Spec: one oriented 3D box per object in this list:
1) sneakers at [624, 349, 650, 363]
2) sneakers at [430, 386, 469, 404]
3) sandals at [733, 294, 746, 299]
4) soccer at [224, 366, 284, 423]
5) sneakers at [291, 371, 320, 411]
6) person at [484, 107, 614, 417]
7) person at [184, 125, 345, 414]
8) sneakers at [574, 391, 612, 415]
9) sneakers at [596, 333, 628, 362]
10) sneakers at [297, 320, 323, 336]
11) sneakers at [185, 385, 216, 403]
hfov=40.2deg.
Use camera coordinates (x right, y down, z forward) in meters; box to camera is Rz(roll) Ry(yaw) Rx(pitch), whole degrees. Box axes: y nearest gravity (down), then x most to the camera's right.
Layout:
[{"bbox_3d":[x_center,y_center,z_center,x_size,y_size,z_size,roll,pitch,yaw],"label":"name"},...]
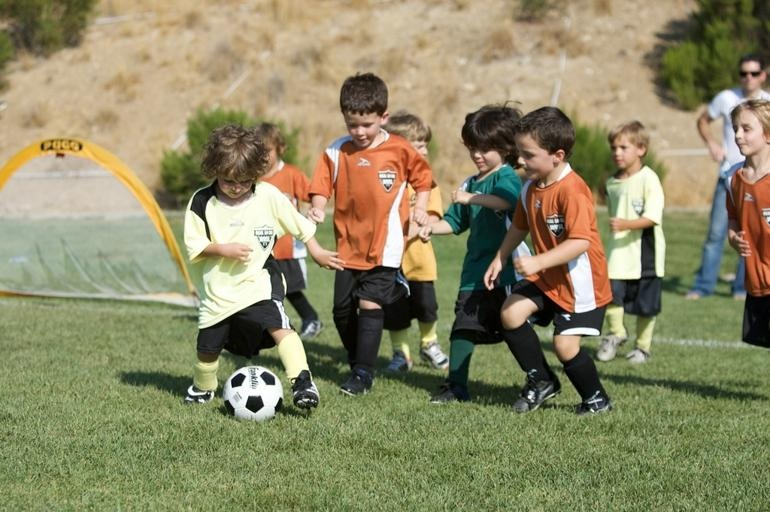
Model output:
[{"bbox_3d":[2.654,1.044,11.025,0.240,0.127,0.206,1,5,13],"label":"sneakers"},{"bbox_3d":[0.609,1.299,9.844,0.328,0.139,0.161,3,-7,-8],"label":"sneakers"},{"bbox_3d":[4.614,0.525,13.650,0.119,0.084,0.074,-6,15,44],"label":"sandals"},{"bbox_3d":[-1.183,1.227,9.517,0.452,0.490,0.446,-1,4,6],"label":"soccer"},{"bbox_3d":[-0.733,1.201,9.452,0.235,0.325,0.215,-1,5,-8],"label":"sneakers"},{"bbox_3d":[1.519,0.042,9.510,1.049,2.772,0.609,1,5,13],"label":"person"},{"bbox_3d":[-1.227,0.107,9.536,1.219,2.577,0.714,-1,5,-12],"label":"person"},{"bbox_3d":[1.908,1.349,9.608,0.330,0.149,0.167,-21,32,-9],"label":"sneakers"},{"bbox_3d":[2.398,0.946,11.260,0.449,0.197,0.159,-41,27,-31],"label":"sneakers"},{"bbox_3d":[-0.839,0.813,11.775,0.111,0.140,0.316,-10,2,22],"label":"sneakers"},{"bbox_3d":[-1.736,1.290,9.734,0.128,0.114,0.249,0,-8,12],"label":"sneakers"}]
